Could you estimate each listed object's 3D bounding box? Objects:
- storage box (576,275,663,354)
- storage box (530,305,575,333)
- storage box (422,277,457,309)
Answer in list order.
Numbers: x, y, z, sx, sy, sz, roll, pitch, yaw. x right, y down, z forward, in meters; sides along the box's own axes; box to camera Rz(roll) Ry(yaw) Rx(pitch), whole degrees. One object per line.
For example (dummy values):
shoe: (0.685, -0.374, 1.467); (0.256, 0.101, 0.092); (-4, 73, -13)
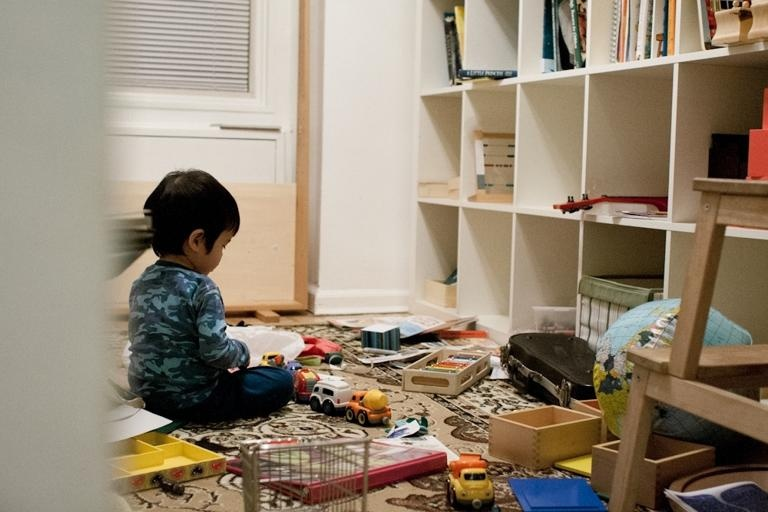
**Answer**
storage box: (0.707, 0.196, 1.834); (0.285, 0.157, 0.273); (18, -6, -7)
storage box: (0.573, 0.217, 2.021); (0.121, 0.067, 0.082); (0, -1, 3)
storage box: (0.240, 0.167, 2.609); (0.105, 0.076, 0.193); (-1, 7, -17)
